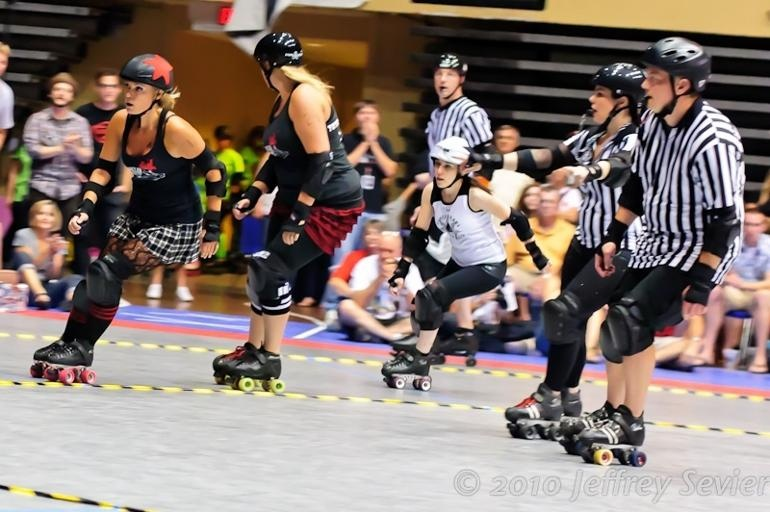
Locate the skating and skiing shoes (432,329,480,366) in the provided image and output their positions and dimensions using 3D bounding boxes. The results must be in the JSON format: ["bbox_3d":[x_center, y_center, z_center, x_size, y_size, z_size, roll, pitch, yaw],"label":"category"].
[{"bbox_3d":[0.543,0.680,6.146,0.401,0.285,0.204,-1,18,20],"label":"skating and skiing shoes"}]

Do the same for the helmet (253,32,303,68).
[{"bbox_3d":[-0.615,-1.209,4.542,0.239,0.195,0.217,30,39,27],"label":"helmet"}]

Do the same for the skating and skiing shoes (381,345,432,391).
[{"bbox_3d":[0.154,0.738,5.122,0.350,0.258,0.227,2,0,-14],"label":"skating and skiing shoes"}]

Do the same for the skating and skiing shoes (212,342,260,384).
[{"bbox_3d":[-0.933,0.644,4.713,0.323,0.152,0.178,-12,15,-38],"label":"skating and skiing shoes"}]

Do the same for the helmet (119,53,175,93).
[{"bbox_3d":[-1.335,-1.021,4.444,0.236,0.202,0.255,11,-3,35],"label":"helmet"}]

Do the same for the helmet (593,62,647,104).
[{"bbox_3d":[1.244,-0.948,4.196,0.224,0.236,0.186,2,4,18],"label":"helmet"}]

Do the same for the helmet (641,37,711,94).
[{"bbox_3d":[1.323,-0.895,3.595,0.308,0.188,0.228,5,29,-20],"label":"helmet"}]
